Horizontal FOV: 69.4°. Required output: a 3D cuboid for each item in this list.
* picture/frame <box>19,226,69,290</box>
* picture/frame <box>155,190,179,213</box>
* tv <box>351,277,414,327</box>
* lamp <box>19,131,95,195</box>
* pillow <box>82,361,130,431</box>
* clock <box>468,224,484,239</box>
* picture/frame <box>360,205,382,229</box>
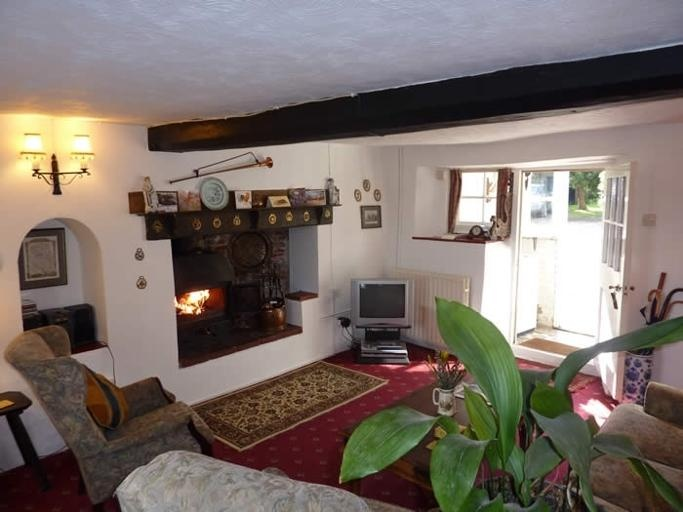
[{"bbox_3d":[-2.676,0.009,4.433,0.040,0.556,0.544,2,5,33],"label":"picture/frame"},{"bbox_3d":[-1.586,-0.497,4.494,0.024,0.203,0.219,-11,-11,36],"label":"picture/frame"},{"bbox_3d":[0.493,0.535,6.444,0.942,0.811,0.520,1,5,1],"label":"tv"},{"bbox_3d":[-2.322,-0.769,4.008,0.251,0.461,0.532,2,6,39],"label":"lamp"},{"bbox_3d":[-1.618,0.987,3.408,0.152,0.436,0.371,-19,-4,15],"label":"pillow"},{"bbox_3d":[1.730,-0.314,6.390,0.135,0.184,0.076,5,-5,2],"label":"clock"},{"bbox_3d":[0.398,-0.535,6.740,0.075,0.342,0.434,9,15,37],"label":"picture/frame"}]
